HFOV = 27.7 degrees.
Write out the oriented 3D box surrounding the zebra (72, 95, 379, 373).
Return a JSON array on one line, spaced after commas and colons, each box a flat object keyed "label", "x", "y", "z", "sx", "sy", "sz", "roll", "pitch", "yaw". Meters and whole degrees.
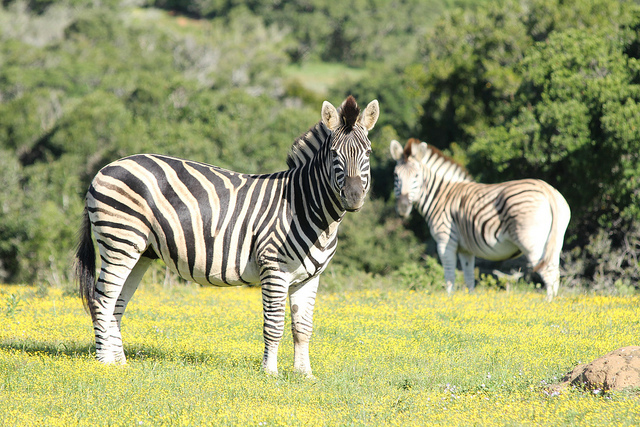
[{"label": "zebra", "x": -1.987, "y": 0.516, "z": 31.564, "sx": 7.929, "sy": 7.307, "sz": 3.906, "roll": 0, "pitch": -3, "yaw": 6}]
